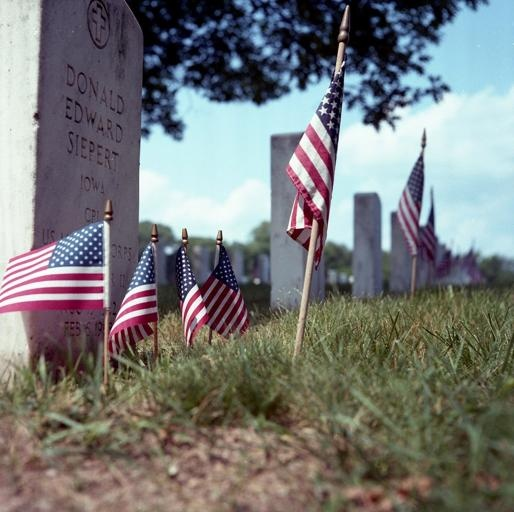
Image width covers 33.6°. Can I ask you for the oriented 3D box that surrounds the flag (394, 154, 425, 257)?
[{"bbox_3d":[1.462,-0.487,8.104,0.218,0.940,0.338,2,-2,9],"label":"flag"}]

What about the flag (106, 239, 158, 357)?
[{"bbox_3d":[-0.801,0.273,5.497,0.299,0.720,0.417,3,-2,-12],"label":"flag"}]
